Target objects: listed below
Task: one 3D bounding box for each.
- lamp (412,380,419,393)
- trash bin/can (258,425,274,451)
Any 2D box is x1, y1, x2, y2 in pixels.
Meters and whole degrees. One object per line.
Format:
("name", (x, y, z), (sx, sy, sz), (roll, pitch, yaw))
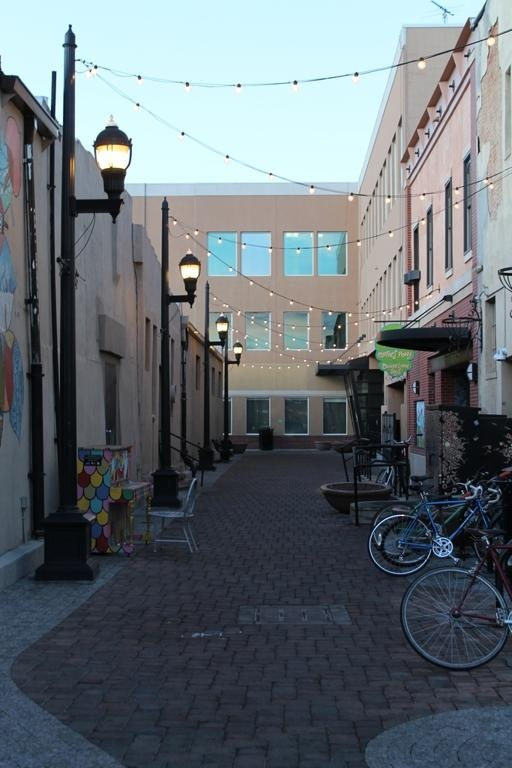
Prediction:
("lamp", (4.847, 0.041, 22.719), (0.094, 0.388, 0.321), (0, -3, 0))
("trash bin/can", (0.508, 2.928, 40.232), (0.766, 1.653, 0.935), (0, -7, -1))
